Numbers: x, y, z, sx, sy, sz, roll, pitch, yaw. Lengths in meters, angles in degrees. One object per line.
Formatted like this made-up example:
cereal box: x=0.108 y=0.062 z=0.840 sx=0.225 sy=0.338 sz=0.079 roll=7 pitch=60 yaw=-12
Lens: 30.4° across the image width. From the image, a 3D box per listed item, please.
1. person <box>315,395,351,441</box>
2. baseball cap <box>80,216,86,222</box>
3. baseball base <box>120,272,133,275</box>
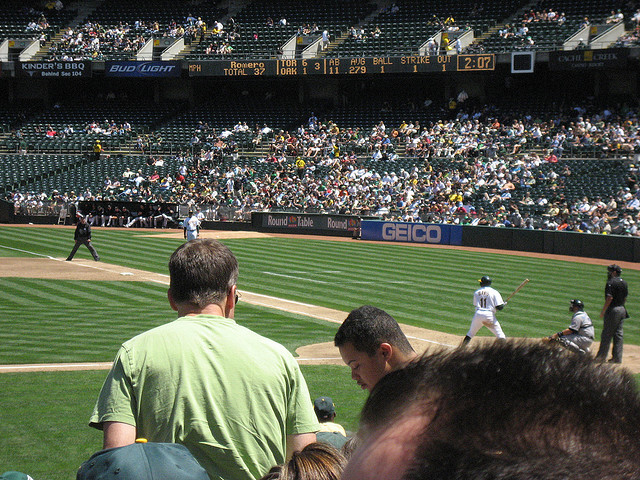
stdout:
person: x=0.148 y=5.229 z=34.510 sx=0.899 sy=0.718 sz=1.421 roll=-18 pitch=40 yaw=-31
baseball cap: x=-10.344 y=-0.879 z=51.303 sx=0.113 sy=0.201 sz=0.156 roll=3 pitch=5 yaw=22
baseball base: x=-8.138 y=1.444 z=49.583 sx=0.462 sy=0.048 sz=0.478 roll=-3 pitch=14 yaw=-12
